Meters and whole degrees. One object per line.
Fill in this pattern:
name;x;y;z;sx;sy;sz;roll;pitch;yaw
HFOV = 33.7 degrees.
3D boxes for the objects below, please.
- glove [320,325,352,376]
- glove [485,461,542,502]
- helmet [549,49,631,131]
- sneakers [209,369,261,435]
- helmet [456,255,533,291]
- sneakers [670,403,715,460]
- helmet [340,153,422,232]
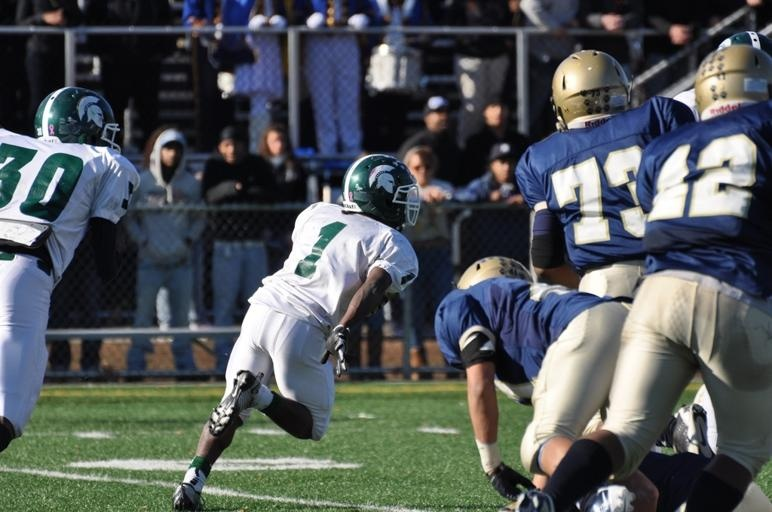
glove;-0.266;0.583;7.117;0.117;0.353;0.145;-11;30;-30
glove;0.695;1.238;6.990;0.251;0.083;0.189;33;10;16
helmet;1.173;-0.957;7.396;0.372;0.402;0.486;-8;16;14
sneakers;-0.838;0.827;7.087;0.291;0.383;0.204;-4;6;-17
helmet;0.612;0.095;7.363;0.287;0.217;0.237;-6;-15;-4
sneakers;1.667;0.970;7.065;0.119;0.299;0.363;-4;6;-17
helmet;-0.030;-0.392;7.752;0.477;0.410;0.406;4;3;-23
